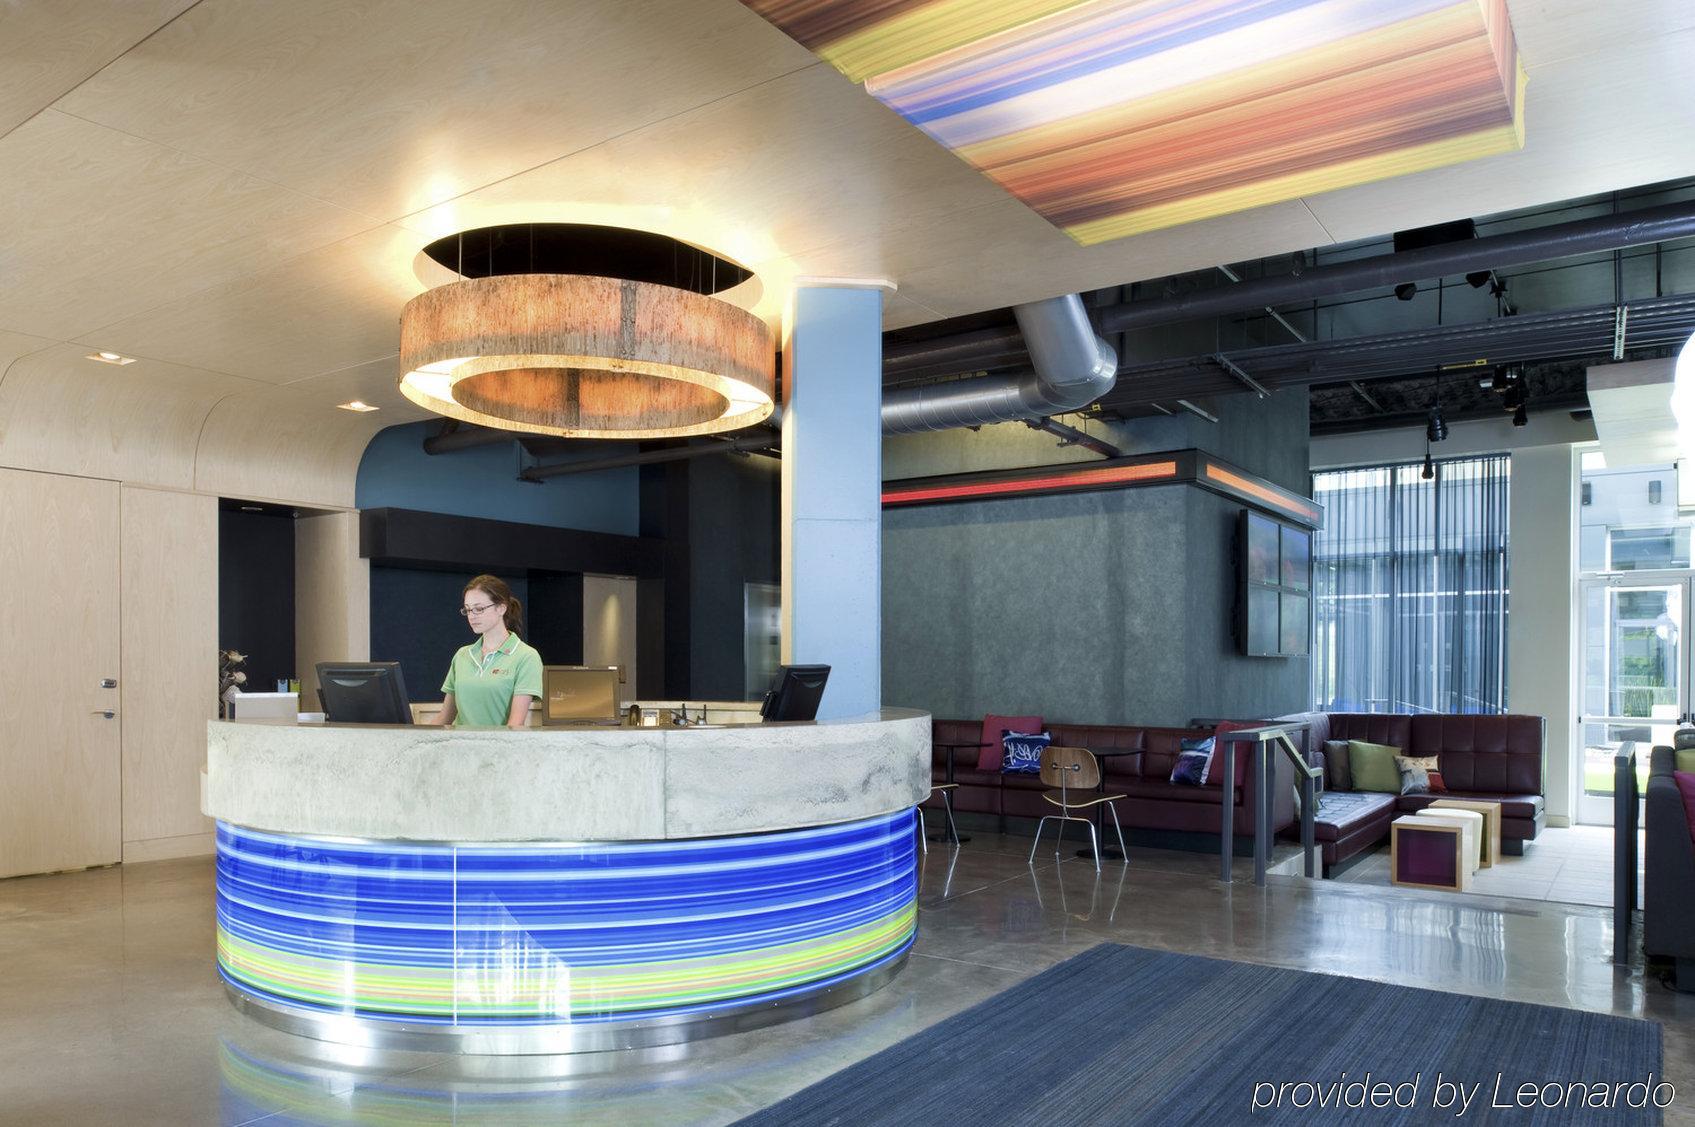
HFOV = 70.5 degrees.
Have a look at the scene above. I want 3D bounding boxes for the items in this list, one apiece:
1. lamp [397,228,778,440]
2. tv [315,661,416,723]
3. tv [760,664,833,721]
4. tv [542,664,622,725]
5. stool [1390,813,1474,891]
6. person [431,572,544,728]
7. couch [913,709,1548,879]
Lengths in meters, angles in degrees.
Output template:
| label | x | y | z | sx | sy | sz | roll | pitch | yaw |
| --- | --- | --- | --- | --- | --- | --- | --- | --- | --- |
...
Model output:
| label | x | y | z | sx | sy | sz | roll | pitch | yaw |
| --- | --- | --- | --- | --- | --- | --- | --- | --- | --- |
| lamp | -1.588 | -1.809 | 7.840 | 1.840 | 0.618 | 1.854 | -4 | -6 | 44 |
| tv | -2.693 | 0.734 | 6.747 | 0.325 | 0.346 | 0.749 | 0 | -3 | -42 |
| tv | -0.314 | 0.779 | 7.134 | 0.419 | 0.334 | 0.283 | -1 | -3 | -24 |
| tv | -1.756 | 0.841 | 8.111 | 0.725 | 0.460 | 0.358 | 1 | 0 | 7 |
| stool | 4.892 | 2.409 | 10.142 | 0.652 | 0.585 | 0.556 | -2 | -5 | 30 |
| person | -2.204 | 0.533 | 7.246 | 0.693 | 0.898 | 0.507 | -3 | -2 | 10 |
| couch | 4.051 | 2.248 | 12.075 | 5.771 | 1.514 | 3.197 | -1 | -3 | -24 |
